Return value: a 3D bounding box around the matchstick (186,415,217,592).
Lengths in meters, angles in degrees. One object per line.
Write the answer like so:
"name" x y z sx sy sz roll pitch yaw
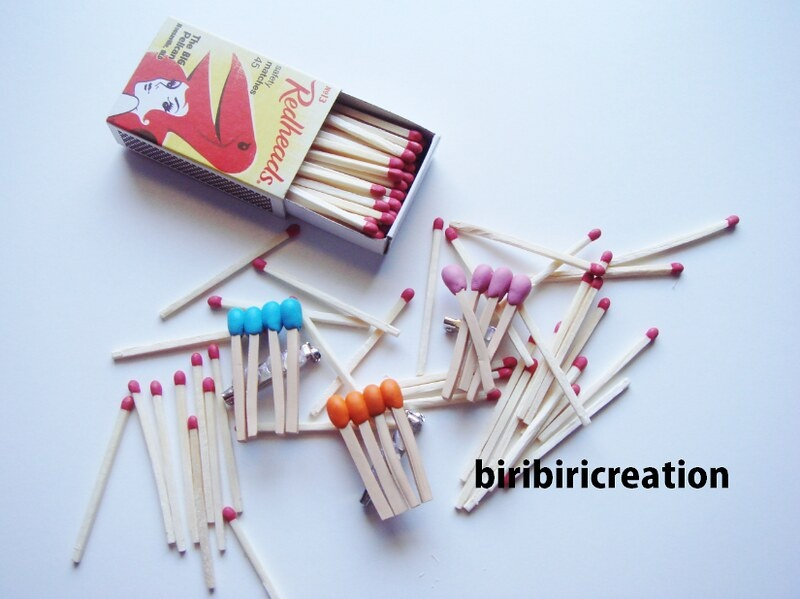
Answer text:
"matchstick" -0.762 0.804 3.221 0.073 0.793 0.042 -4 -2 17

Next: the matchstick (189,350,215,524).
"matchstick" -0.755 0.512 3.278 0.071 0.763 0.068 -5 -1 13

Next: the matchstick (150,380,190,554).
"matchstick" -0.901 0.648 3.256 0.069 0.613 0.233 -11 -25 16

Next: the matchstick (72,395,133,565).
"matchstick" -1.149 0.728 3.256 0.061 0.651 0.058 18 -11 -4

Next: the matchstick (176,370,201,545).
"matchstick" -0.829 0.580 3.246 0.072 0.795 0.064 -3 1 8
